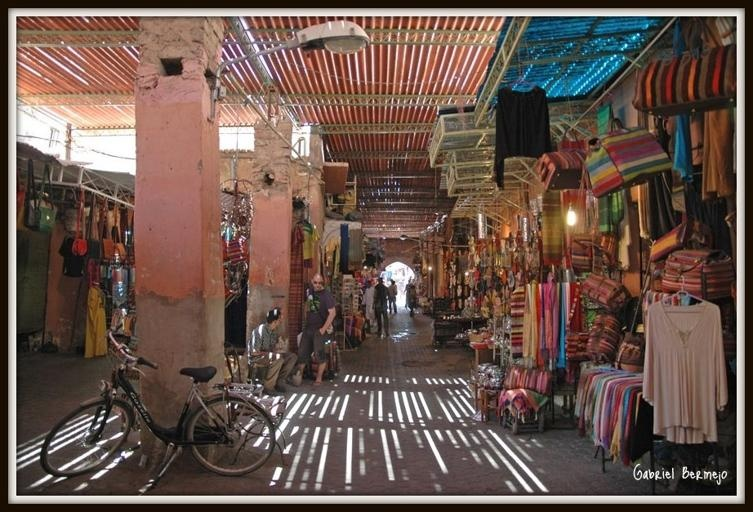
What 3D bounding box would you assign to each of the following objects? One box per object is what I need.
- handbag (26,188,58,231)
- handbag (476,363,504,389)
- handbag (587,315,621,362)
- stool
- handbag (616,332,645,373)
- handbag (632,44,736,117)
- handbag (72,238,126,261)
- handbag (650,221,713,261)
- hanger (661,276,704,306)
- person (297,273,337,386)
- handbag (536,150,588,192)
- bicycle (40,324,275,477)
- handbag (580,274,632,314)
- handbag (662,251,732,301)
[{"bbox_3d":[-6.155,-0.855,10.982,0.238,0.448,0.928,1,-2,-7],"label":"handbag"},{"bbox_3d":[1.684,1.787,8.776,0.319,0.320,0.107,20,-18,-38],"label":"handbag"},{"bbox_3d":[2.981,1.077,7.871,0.415,0.629,0.284,-1,-4,21],"label":"handbag"},{"bbox_3d":[2.055,2.106,8.436,1.376,0.563,1.181,0,-4,11],"label":"stool"},{"bbox_3d":[3.112,1.199,7.343,0.243,0.433,0.432,15,0,-15],"label":"handbag"},{"bbox_3d":[3.069,-1.728,5.900,0.795,0.651,0.444,-5,-27,43],"label":"handbag"},{"bbox_3d":[-5.992,-0.176,13.044,0.546,0.453,1.996,1,-4,-5],"label":"handbag"},{"bbox_3d":[3.385,-0.189,6.690,0.415,0.154,0.415,-33,-11,2],"label":"handbag"},{"bbox_3d":[3.235,0.366,6.373,0.234,0.326,0.125,1,8,-25],"label":"hanger"},{"bbox_3d":[-1.108,1.264,10.501,0.507,1.848,0.776,4,-5,-43],"label":"person"},{"bbox_3d":[2.663,-1.154,8.456,0.832,0.502,0.577,-2,30,-13],"label":"handbag"},{"bbox_3d":[-2.385,1.648,6.720,2.425,1.563,0.815,1,-4,-5],"label":"bicycle"},{"bbox_3d":[3.103,0.534,8.139,0.256,0.353,0.380,27,13,-23],"label":"handbag"},{"bbox_3d":[3.440,0.195,6.450,0.474,0.475,0.655,1,0,-4],"label":"handbag"}]
